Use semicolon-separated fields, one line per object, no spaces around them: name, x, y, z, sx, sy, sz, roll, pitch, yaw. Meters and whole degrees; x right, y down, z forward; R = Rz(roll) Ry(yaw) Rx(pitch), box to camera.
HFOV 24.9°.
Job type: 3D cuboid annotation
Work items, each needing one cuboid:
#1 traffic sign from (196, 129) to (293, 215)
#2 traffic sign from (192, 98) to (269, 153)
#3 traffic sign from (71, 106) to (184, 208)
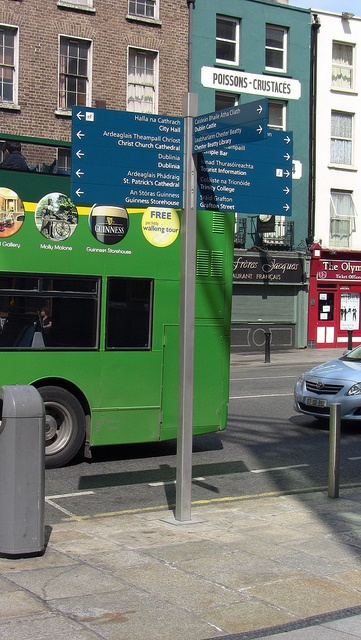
traffic sign;0.495;-1.199;6.588;0.670;0.608;0.080;0;2;-15
traffic sign;0.387;-1.456;6.201;0.203;0.294;0.845;-2;3;-35
traffic sign;-0.399;-1.219;6.203;0.771;0.597;0.012;1;-3;-30
